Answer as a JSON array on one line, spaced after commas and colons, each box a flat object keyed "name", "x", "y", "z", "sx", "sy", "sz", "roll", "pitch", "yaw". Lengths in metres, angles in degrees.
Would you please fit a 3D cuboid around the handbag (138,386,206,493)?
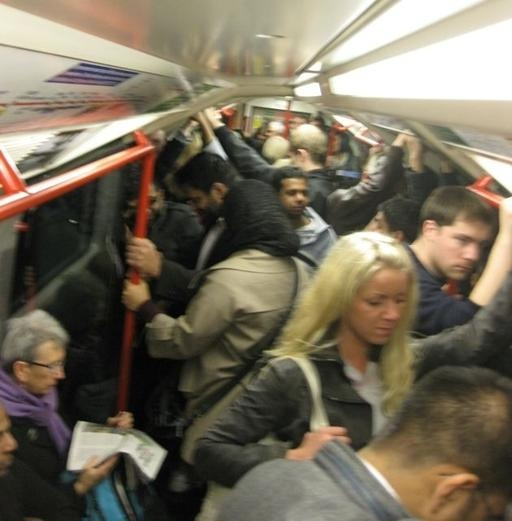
[{"name": "handbag", "x": -0.186, "y": 0.412, "z": 1.226, "sx": 0.224, "sy": 0.213, "sz": 0.098, "roll": -5, "pitch": 3, "yaw": 29}]
